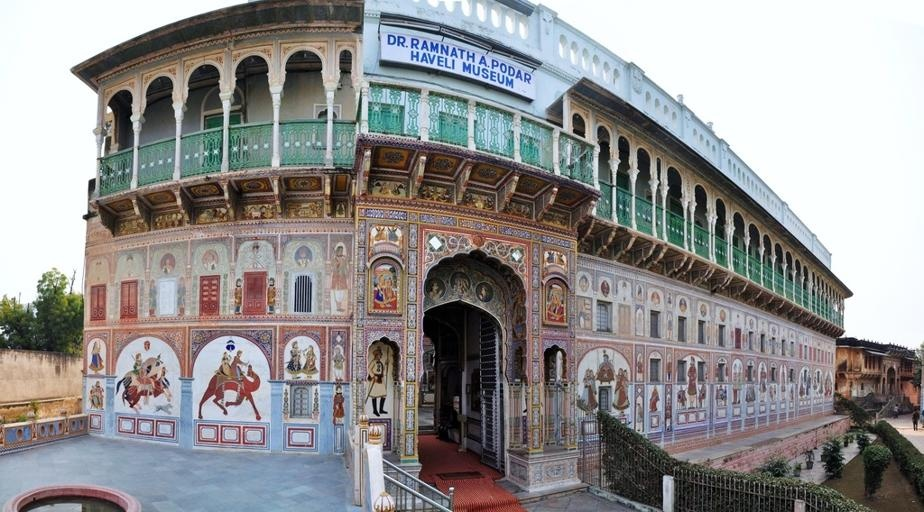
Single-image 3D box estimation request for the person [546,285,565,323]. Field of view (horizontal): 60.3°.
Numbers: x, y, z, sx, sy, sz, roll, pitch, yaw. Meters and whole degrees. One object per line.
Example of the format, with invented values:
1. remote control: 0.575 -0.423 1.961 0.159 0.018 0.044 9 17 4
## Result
1. person: 4.437 2.268 37.391 1.056 1.793 0.608 2 9 -12
